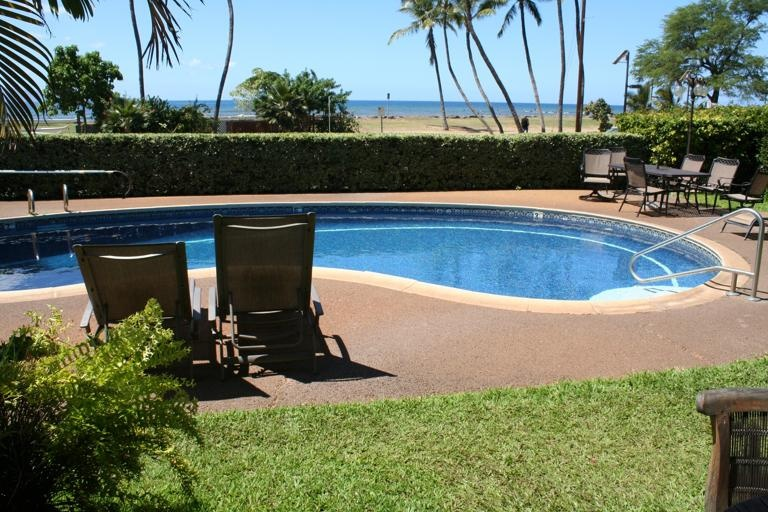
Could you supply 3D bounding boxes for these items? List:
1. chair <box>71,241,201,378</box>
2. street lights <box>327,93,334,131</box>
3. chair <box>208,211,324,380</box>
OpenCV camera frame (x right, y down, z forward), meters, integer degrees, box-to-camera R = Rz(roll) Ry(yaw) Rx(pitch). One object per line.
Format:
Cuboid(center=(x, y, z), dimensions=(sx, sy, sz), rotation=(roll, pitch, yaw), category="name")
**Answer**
Cuboid(center=(-2.527, 0.530, 6.069), dimensions=(1.240, 1.703, 1.448), rotation=(-7, 19, -19), category="chair")
Cuboid(center=(-2.659, -7.040, 28.235), dimensions=(0.282, 1.700, 0.612), rotation=(-5, 12, -7), category="street lights")
Cuboid(center=(-1.445, 0.299, 6.721), dimensions=(1.334, 1.567, 2.357), rotation=(-2, 3, -16), category="chair")
